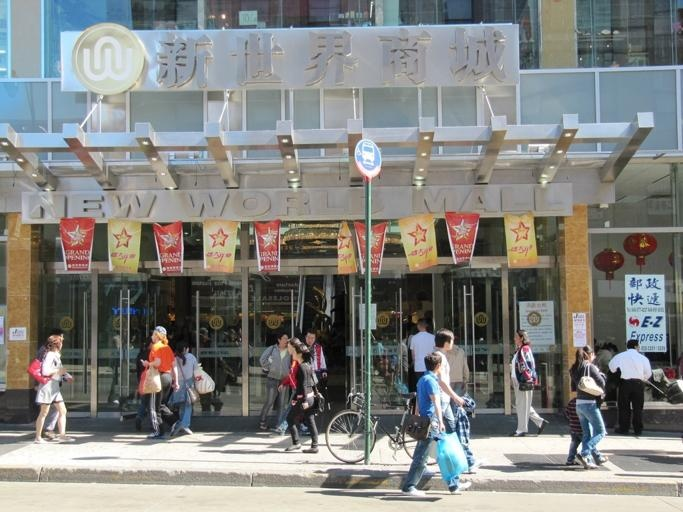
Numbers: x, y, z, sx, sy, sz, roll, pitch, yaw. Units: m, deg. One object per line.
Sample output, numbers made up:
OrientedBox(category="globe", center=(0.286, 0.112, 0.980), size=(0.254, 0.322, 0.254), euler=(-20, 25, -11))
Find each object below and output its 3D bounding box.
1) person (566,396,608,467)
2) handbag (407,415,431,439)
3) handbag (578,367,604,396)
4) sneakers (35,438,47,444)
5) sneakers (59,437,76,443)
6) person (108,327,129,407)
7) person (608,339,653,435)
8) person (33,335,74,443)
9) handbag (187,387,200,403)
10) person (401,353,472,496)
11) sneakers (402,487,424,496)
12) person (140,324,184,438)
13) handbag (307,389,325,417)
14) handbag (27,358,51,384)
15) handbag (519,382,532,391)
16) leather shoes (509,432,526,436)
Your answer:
OrientedBox(category="person", center=(4.763, 3.296, 21.183), size=(0.511, 1.297, 0.378), euler=(1, -9, -28))
OrientedBox(category="handbag", center=(1.405, 3.031, 20.089), size=(0.353, 0.360, 0.193), euler=(1, -19, 15))
OrientedBox(category="handbag", center=(4.707, 2.345, 21.191), size=(0.149, 0.371, 0.394), euler=(-25, -41, 38))
OrientedBox(category="sneakers", center=(-6.206, 3.717, 22.808), size=(0.348, 0.114, 0.201), euler=(-10, -10, 37))
OrientedBox(category="sneakers", center=(-5.651, 3.726, 23.016), size=(0.252, 0.089, 0.137), euler=(3, -2, -18))
OrientedBox(category="person", center=(-5.241, 2.564, 25.815), size=(0.364, 1.715, 0.098), euler=(-2, -8, -11))
OrientedBox(category="person", center=(6.173, 2.740, 23.761), size=(0.833, 2.020, 0.558), euler=(-5, -8, 14))
OrientedBox(category="person", center=(-6.034, 2.693, 23.240), size=(0.709, 2.177, 0.770), euler=(-1, -8, -16))
OrientedBox(category="handbag", center=(-3.157, 2.900, 23.744), size=(0.145, 0.295, 0.400), euler=(-5, -8, 8))
OrientedBox(category="person", center=(1.569, 2.992, 20.274), size=(1.023, 2.545, 0.542), euler=(-4, -8, 4))
OrientedBox(category="sneakers", center=(1.311, 4.210, 20.236), size=(0.298, 0.129, 0.167), euler=(-1, -5, 8))
OrientedBox(category="person", center=(-3.834, 2.614, 23.537), size=(0.779, 2.296, 0.531), euler=(-1, -8, -18))
OrientedBox(category="handbag", center=(-0.493, 2.858, 22.367), size=(0.234, 0.494, 0.797), euler=(-4, -8, 6))
OrientedBox(category="handbag", center=(-6.245, 2.310, 22.966), size=(0.344, 0.547, 0.263), euler=(-9, -9, 35))
OrientedBox(category="handbag", center=(3.854, 2.675, 23.357), size=(0.218, 0.159, 0.154), euler=(-4, -2, 22))
OrientedBox(category="leather shoes", center=(3.737, 3.672, 23.472), size=(0.323, 0.118, 0.198), euler=(-5, -8, 9))
